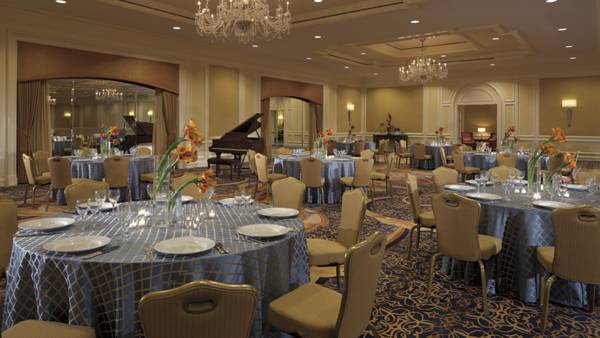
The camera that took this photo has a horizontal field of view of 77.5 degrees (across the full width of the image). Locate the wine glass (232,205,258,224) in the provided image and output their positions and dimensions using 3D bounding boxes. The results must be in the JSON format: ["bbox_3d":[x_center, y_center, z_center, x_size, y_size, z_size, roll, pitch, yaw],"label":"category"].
[{"bbox_3d":[-0.665,0.563,4.506,0.265,0.255,0.208,0,-3,-24],"label":"wine glass"}]

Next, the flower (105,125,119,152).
[{"bbox_3d":[-4.501,-0.681,8.732,0.413,0.567,0.346,3,8,-26],"label":"flower"}]

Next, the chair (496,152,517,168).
[{"bbox_3d":[5.022,-0.206,9.024,0.353,0.518,0.372,6,12,32],"label":"chair"}]

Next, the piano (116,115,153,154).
[{"bbox_3d":[-5.257,-1.067,11.746,1.176,1.210,0.818,12,20,42],"label":"piano"}]

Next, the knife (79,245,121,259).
[{"bbox_3d":[-2.036,0.841,3.819,0.100,0.038,0.436,20,20,28],"label":"knife"}]

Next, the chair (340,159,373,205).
[{"bbox_3d":[1.253,0.256,8.392,0.656,1.106,0.703,-3,12,-15],"label":"chair"}]

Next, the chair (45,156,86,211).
[{"bbox_3d":[-4.806,0.301,7.682,0.609,1.029,0.638,0,1,-8],"label":"chair"}]

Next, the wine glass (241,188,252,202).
[{"bbox_3d":[-0.653,0.316,4.604,0.145,0.158,0.140,-4,8,-16],"label":"wine glass"}]

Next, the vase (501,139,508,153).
[{"bbox_3d":[5.846,-0.662,10.606,0.192,0.310,0.595,2,6,29],"label":"vase"}]

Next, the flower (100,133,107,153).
[{"bbox_3d":[-4.444,-0.574,8.448,0.061,0.408,0.161,1,6,22],"label":"flower"}]

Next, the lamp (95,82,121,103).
[{"bbox_3d":[-6.205,-2.463,12.085,0.218,0.602,0.838,2,6,31],"label":"lamp"}]

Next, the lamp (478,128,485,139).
[{"bbox_3d":[9.442,-1.848,19.311,0.393,0.544,0.854,1,6,25],"label":"lamp"}]

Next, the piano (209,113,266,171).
[{"bbox_3d":[-1.993,-0.796,11.783,1.602,1.901,1.948,3,7,8],"label":"piano"}]

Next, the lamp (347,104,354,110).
[{"bbox_3d":[2.574,-3.049,18.495,0.283,0.322,0.686,3,7,35],"label":"lamp"}]

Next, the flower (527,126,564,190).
[{"bbox_3d":[3.479,-0.065,5.275,0.390,0.931,0.379,4,27,16],"label":"flower"}]

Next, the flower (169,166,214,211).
[{"bbox_3d":[-1.423,0.298,4.521,0.391,0.405,0.581,14,-24,-40],"label":"flower"}]

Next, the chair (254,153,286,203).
[{"bbox_3d":[-0.685,0.151,8.817,0.767,1.076,0.709,-7,15,-43],"label":"chair"}]

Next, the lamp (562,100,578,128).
[{"bbox_3d":[10.832,-2.242,14.977,0.526,1.154,0.627,3,7,35],"label":"lamp"}]

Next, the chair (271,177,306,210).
[{"bbox_3d":[-0.147,0.312,5.487,0.430,0.753,0.470,4,7,14],"label":"chair"}]

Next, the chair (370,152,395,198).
[{"bbox_3d":[1.964,0.162,9.018,0.582,0.958,0.565,4,9,19],"label":"chair"}]

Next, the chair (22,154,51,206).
[{"bbox_3d":[-5.634,0.199,8.106,0.552,0.930,0.593,9,8,41],"label":"chair"}]

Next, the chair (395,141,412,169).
[{"bbox_3d":[4.101,-0.610,14.276,0.651,1.023,0.699,-18,15,-35],"label":"chair"}]

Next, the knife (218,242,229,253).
[{"bbox_3d":[-0.810,0.817,3.883,0.070,0.032,0.121,0,32,-42],"label":"knife"}]

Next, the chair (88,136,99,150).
[{"bbox_3d":[-6.531,-0.852,11.864,0.382,0.415,0.314,3,7,39],"label":"chair"}]

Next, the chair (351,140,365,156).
[{"bbox_3d":[2.228,-0.774,14.219,0.535,0.731,0.600,4,13,6],"label":"chair"}]

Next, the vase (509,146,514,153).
[{"bbox_3d":[5.787,-0.531,10.184,0.139,0.159,0.142,-3,-1,10],"label":"vase"}]

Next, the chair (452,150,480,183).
[{"bbox_3d":[4.475,-0.092,9.990,0.667,0.971,0.614,-6,11,-2],"label":"chair"}]

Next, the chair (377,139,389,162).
[{"bbox_3d":[3.133,-0.668,14.476,0.591,0.904,0.545,-1,2,-40],"label":"chair"}]

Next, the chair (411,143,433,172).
[{"bbox_3d":[4.324,-0.451,13.004,0.627,0.946,0.669,4,9,32],"label":"chair"}]

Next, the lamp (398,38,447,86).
[{"bbox_3d":[4.656,-4.067,14.031,1.644,1.631,1.711,4,18,31],"label":"lamp"}]

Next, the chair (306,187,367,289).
[{"bbox_3d":[0.392,0.920,4.928,0.837,1.360,0.734,2,6,-8],"label":"chair"}]
